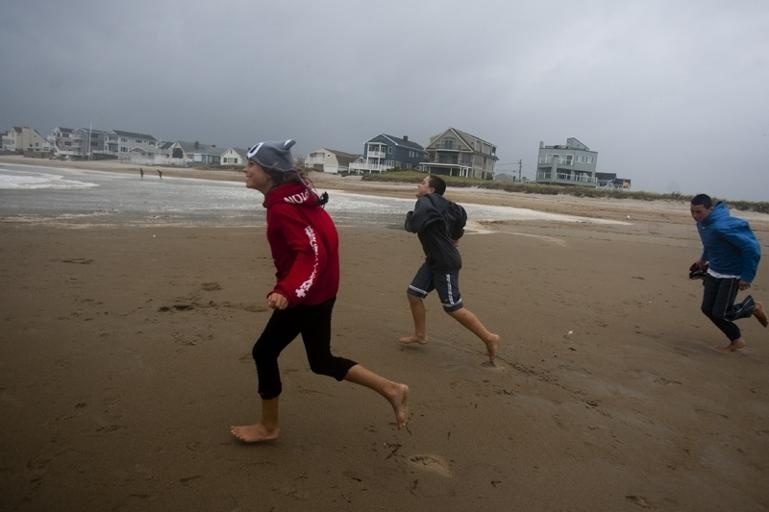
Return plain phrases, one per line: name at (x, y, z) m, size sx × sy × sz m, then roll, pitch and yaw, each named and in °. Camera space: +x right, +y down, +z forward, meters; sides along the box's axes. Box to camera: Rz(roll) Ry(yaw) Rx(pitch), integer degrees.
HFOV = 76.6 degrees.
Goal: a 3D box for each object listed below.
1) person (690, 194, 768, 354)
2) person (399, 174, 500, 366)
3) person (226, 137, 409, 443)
person at (4.833, 0.214, 6.892) m, size 1.091 × 2.078 × 0.670 m, roll 11°, pitch 14°, yaw 31°
person at (0.803, 0.105, 6.186) m, size 1.177 × 2.180 × 1.074 m, roll 4°, pitch 12°, yaw -1°
person at (-0.666, 0.357, 4.311) m, size 1.566 × 2.652 × 0.987 m, roll 6°, pitch 12°, yaw 9°
